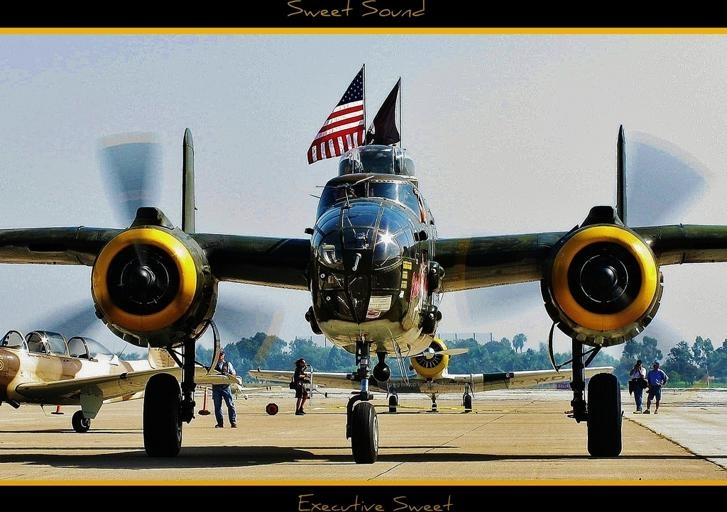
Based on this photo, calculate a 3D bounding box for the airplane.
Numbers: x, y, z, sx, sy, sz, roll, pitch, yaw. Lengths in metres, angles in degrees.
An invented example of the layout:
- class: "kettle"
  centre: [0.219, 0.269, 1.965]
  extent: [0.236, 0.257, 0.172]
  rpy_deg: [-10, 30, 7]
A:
- class: "airplane"
  centre: [-0.444, 1.889, 21.798]
  extent: [11.846, 3.910, 6.128]
  rpy_deg: [-1, -6, 7]

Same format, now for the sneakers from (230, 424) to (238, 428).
- class: "sneakers"
  centre: [-3.562, 4.646, 27.933]
  extent: [0.171, 0.170, 0.464]
  rpy_deg: [1, -12, -6]
